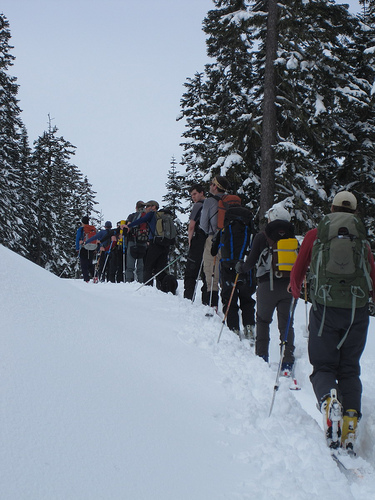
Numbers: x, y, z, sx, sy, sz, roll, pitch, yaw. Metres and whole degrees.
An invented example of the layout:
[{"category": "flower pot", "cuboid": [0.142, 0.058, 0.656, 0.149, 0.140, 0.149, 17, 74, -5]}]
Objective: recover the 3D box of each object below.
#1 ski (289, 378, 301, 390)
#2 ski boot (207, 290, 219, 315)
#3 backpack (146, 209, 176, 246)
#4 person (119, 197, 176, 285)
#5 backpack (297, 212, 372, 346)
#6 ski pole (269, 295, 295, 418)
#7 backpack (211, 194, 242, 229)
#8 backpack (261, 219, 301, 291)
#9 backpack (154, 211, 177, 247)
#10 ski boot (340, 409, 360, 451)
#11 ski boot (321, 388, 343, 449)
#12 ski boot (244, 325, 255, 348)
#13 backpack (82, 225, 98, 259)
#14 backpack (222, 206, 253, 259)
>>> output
[{"category": "ski", "cuboid": [1.074, 1.313, 5.846, 0.065, 0.138, 0.090, -22, -41, 32]}, {"category": "ski boot", "cuboid": [0.349, 0.691, 8.149, 0.079, 0.259, 0.175, 5, 2, 10]}, {"category": "backpack", "cuboid": [-0.360, -0.345, 9.107, 0.304, 0.581, 0.386, -17, -19, 39]}, {"category": "person", "cuboid": [-0.594, 0.007, 9.259, 0.737, 1.709, 0.922, 8, -14, -28]}, {"category": "backpack", "cuboid": [1.142, 0.222, 4.498, 0.471, 0.959, 0.255, 6, 0, 20]}, {"category": "ski pole", "cuboid": [0.894, 0.996, 5.653, 0.022, 1.087, 0.050, 15, -22, -8]}, {"category": "backpack", "cuboid": [0.505, -0.517, 7.683, 0.299, 0.465, 0.423, 1, -11, -8]}, {"category": "backpack", "cuboid": [0.953, 0.046, 6.108, 0.431, 0.675, 0.265, -1, 4, 4]}, {"category": "backpack", "cuboid": [-0.358, -0.351, 9.089, 0.291, 0.572, 0.383, -8, -11, 36]}, {"category": "ski boot", "cuboid": [1.142, 1.249, 4.207, 0.183, 0.354, 0.112, -4, 28, 3]}, {"category": "ski boot", "cuboid": [1.017, 1.181, 4.214, 0.158, 0.396, 0.205, 6, 0, 9]}, {"category": "ski boot", "cuboid": [0.710, 1.004, 6.894, 0.148, 0.212, 0.472, 2, -6, -4]}, {"category": "backpack", "cuboid": [-2.191, -0.217, 13.260, 0.313, 0.526, 0.528, 3, 42, -7]}, {"category": "backpack", "cuboid": [0.587, -0.199, 6.966, 0.338, 0.579, 0.218, 3, -1, -6]}]
